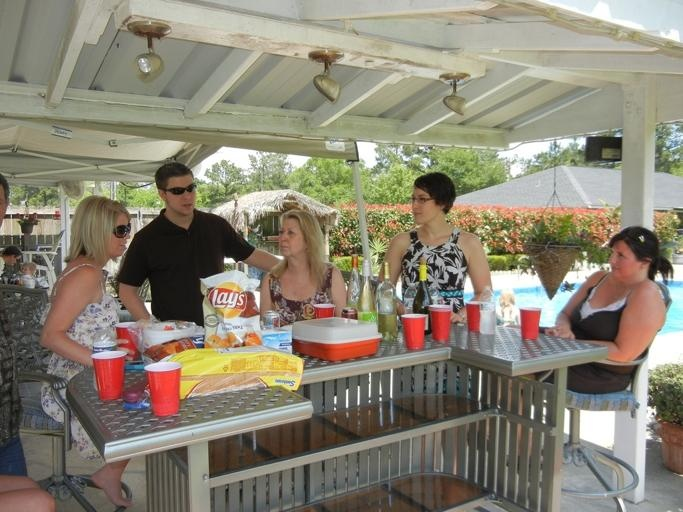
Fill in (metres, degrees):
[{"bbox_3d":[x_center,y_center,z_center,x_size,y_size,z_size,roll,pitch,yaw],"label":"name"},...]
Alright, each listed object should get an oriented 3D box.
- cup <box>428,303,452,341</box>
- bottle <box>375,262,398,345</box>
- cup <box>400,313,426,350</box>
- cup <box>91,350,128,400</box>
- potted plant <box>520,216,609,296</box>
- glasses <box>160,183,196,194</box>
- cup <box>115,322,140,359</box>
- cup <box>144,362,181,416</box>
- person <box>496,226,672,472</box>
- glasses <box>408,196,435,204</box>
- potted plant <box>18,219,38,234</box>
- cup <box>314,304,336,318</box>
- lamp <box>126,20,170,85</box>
[{"bbox_3d":[0.523,0.338,2.743,0.150,0.158,0.154,0,-4,0],"label":"cup"},{"bbox_3d":[0.237,0.267,2.771,0.096,0.289,0.276,1,7,2],"label":"bottle"},{"bbox_3d":[0.347,0.367,2.599,0.133,0.145,0.131,-3,-6,0],"label":"cup"},{"bbox_3d":[-0.904,0.458,2.069,0.143,0.148,0.134,1,10,0],"label":"cup"},{"bbox_3d":[1.895,-0.002,4.727,0.654,0.636,0.653,14,-8,-37],"label":"potted plant"},{"bbox_3d":[-1.248,-0.522,4.083,0.264,0.102,0.170,-2,7,-18],"label":"glasses"},{"bbox_3d":[-0.957,0.377,2.404,0.147,0.147,0.147,-2,-1,0],"label":"cup"},{"bbox_3d":[-0.651,0.472,1.954,0.116,0.189,0.152,-2,8,-20],"label":"cup"},{"bbox_3d":[1.689,0.346,3.673,1.051,1.055,0.761,2,9,-12],"label":"person"},{"bbox_3d":[0.581,-0.405,3.795,0.087,0.025,0.085,7,-4,-42],"label":"glasses"},{"bbox_3d":[-5.823,-0.565,9.916,0.373,0.257,0.324,1,0,8],"label":"potted plant"},{"bbox_3d":[-0.087,0.277,2.786,0.083,0.060,0.094,1,-3,-35],"label":"cup"},{"bbox_3d":[-0.921,-0.978,2.550,0.188,0.246,0.183,-6,10,-43],"label":"lamp"}]
